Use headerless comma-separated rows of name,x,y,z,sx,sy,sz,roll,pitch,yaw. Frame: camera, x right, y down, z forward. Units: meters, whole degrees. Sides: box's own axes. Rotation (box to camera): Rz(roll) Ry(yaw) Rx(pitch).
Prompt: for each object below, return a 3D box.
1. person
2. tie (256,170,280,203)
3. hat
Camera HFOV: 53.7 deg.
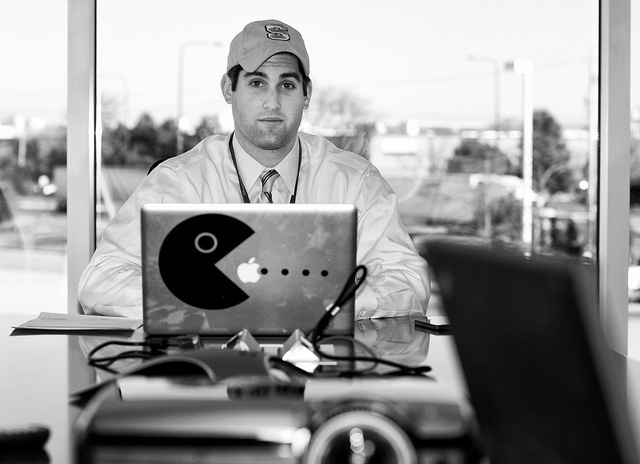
person,-0.225,-0.213,2.247,1.169,1.098,0.753,-1,1,-10
tie,-0.188,-0.167,2.264,0.056,0.125,0.032,19,-16,7
hat,-0.181,-0.679,2.348,0.276,0.214,0.395,-3,9,-22
